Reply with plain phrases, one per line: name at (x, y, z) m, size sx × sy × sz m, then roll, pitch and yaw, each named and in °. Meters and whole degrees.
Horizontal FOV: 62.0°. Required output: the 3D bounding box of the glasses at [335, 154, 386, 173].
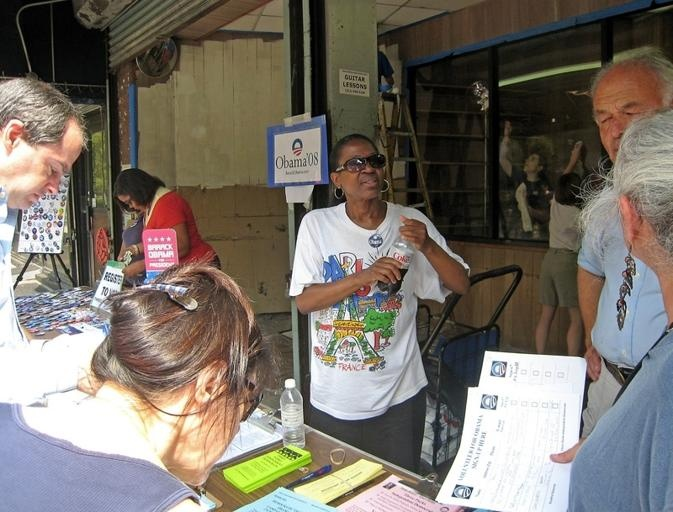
glasses at (0.098, -0.393, 2.345) m, size 0.211 × 0.083 × 0.106 m, roll 2°, pitch 10°, yaw 0°

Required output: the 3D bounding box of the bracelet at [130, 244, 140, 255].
bracelet at (-1.347, -0.041, 3.748) m, size 0.055 × 0.064 × 0.058 m, roll -15°, pitch -16°, yaw 38°

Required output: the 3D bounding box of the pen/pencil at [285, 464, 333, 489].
pen/pencil at (-0.087, 0.673, 1.700) m, size 0.118 × 0.020 × 0.019 m, roll -13°, pitch 25°, yaw -42°
